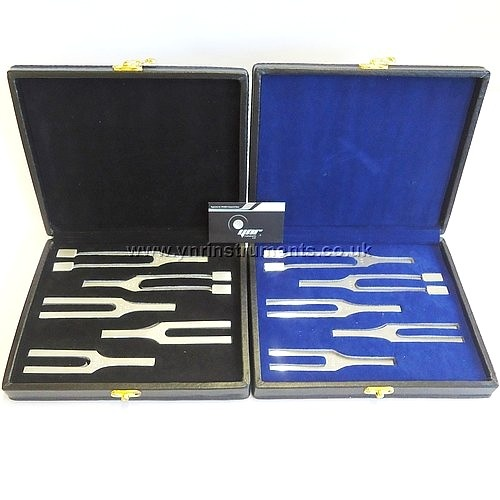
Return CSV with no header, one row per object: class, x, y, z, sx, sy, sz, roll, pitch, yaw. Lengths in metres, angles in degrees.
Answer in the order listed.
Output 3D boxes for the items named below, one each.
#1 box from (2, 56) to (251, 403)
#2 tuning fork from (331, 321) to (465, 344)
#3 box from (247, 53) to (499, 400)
box,-0.384,-0.052,1.685,0.777,0.815,0.709,-1,-42,-2
tuning fork,0.501,0.285,1.846,0.446,0.082,0.013,0,-44,-2
box,0.390,-0.052,1.712,0.768,0.820,0.710,-1,-42,-2
